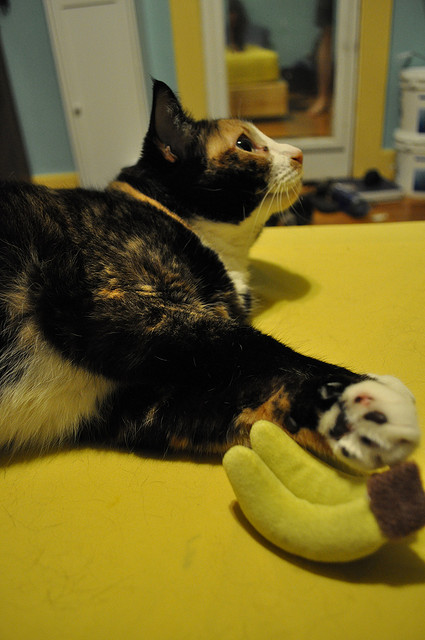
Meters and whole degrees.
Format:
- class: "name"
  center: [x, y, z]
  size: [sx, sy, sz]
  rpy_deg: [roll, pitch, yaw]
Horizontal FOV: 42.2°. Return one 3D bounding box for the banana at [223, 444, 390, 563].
- class: "banana"
  center: [0.117, 0.201, 0.558]
  size: [0.207, 0.065, 0.120]
  rpy_deg: [7, 52, -25]
